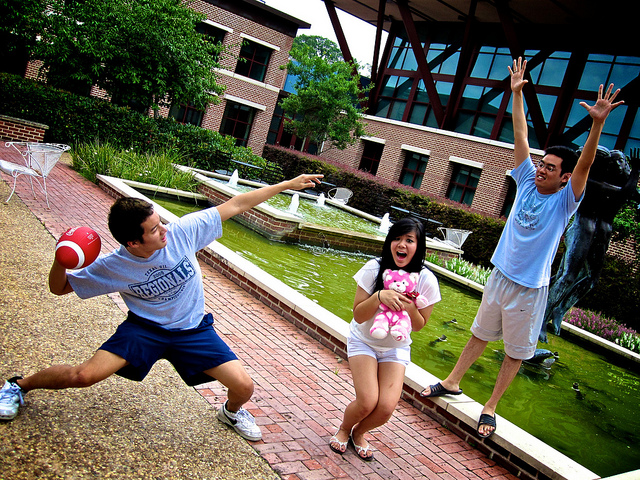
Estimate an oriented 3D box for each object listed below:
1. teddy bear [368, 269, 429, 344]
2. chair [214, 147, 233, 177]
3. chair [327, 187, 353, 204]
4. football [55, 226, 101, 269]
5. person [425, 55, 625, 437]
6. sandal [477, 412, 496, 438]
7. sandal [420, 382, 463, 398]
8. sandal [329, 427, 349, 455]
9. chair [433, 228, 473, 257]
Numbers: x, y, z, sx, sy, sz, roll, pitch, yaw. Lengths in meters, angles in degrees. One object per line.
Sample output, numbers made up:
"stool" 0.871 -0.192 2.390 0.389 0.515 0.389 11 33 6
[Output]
"teddy bear" 0.619 0.488 3.285 0.388 0.508 0.467 6 7 10
"chair" -3.844 -3.120 16.947 0.713 0.854 1.273 10 12 -17
"chair" 0.849 -1.956 18.051 0.892 0.626 2.071 12 11 -11
"football" -1.557 0.038 2.801 0.217 0.187 0.313 -4 13 1
"person" 1.802 0.178 3.916 0.804 2.735 0.569 22 13 37
"sandal" 1.539 1.730 3.883 0.162 0.182 0.161 17 11 17
"sandal" 1.220 1.479 4.220 0.375 0.111 0.138 1 -1 -1
"sandal" 0.156 1.600 3.362 0.153 0.089 0.143 15 11 8
"chair" 4.715 0.059 14.914 0.900 0.792 0.902 7 3 -5
